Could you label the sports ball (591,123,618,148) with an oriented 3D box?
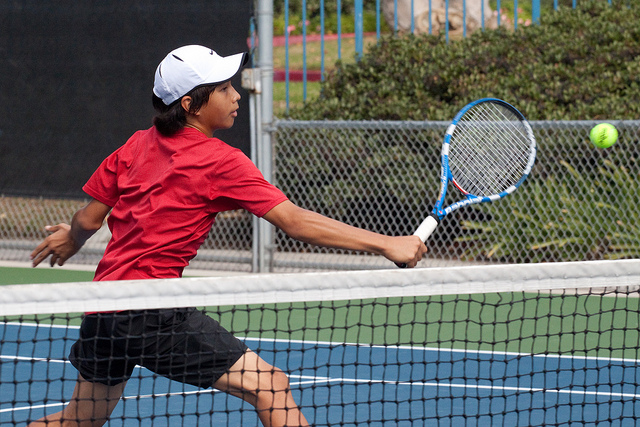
[{"bbox_3d":[2.878,-0.811,9.547,0.234,0.235,0.217,-2,34,2],"label":"sports ball"}]
